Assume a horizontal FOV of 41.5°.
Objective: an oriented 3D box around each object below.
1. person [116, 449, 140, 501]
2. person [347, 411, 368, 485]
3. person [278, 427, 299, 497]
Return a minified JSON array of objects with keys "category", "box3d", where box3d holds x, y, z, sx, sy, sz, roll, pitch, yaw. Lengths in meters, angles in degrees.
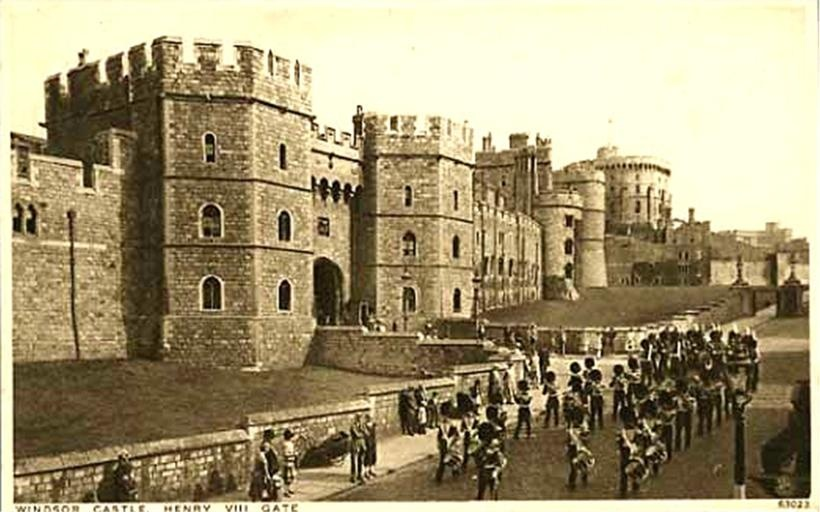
[{"category":"person","box3d":[-8.043,6.258,30.872,0.652,1.496,0.372,2,-4,-24]},{"category":"person","box3d":[-1.601,5.907,33.100,0.544,2.133,0.916,1,-3,-3]},{"category":"person","box3d":[-3.588,6.195,32.465,0.442,2.071,1.202,1,-3,-5]}]
